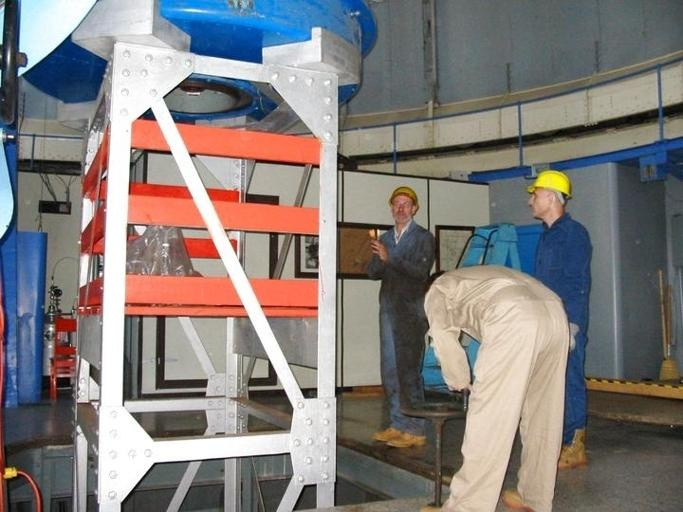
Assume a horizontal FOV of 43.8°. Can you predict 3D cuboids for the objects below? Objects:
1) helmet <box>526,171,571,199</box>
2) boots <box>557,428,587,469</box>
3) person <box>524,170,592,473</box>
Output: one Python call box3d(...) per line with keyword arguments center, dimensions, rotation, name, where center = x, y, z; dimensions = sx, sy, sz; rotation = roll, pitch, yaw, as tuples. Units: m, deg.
box3d(center=(1.788, -0.628, 7.268), dimensions=(0.297, 0.183, 0.250), rotation=(15, 2, 14), name="helmet")
box3d(center=(1.926, 1.635, 7.217), dimensions=(0.218, 0.365, 0.353), rotation=(-1, -4, 45), name="boots")
box3d(center=(1.819, 0.492, 7.041), dimensions=(0.552, 2.319, 0.690), rotation=(4, 3, 16), name="person")
